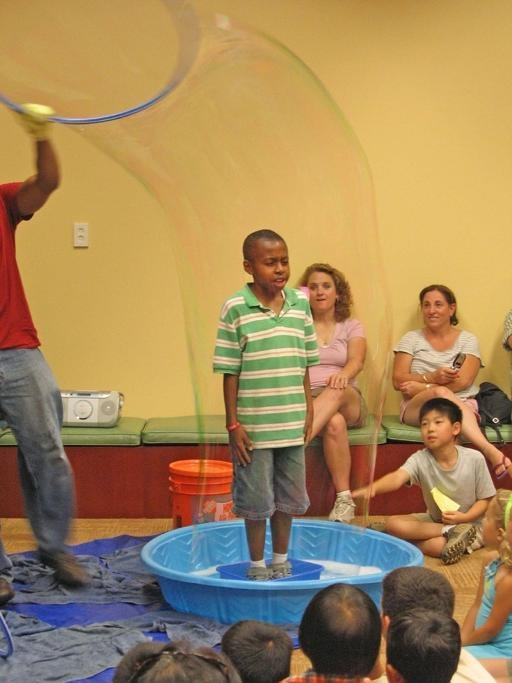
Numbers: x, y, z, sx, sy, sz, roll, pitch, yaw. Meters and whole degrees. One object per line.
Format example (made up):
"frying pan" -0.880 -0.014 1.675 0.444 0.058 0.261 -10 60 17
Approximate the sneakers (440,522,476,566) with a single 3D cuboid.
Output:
"sneakers" 0.603 0.597 2.018 0.075 0.060 0.165 0 33 42

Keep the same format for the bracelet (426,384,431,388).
"bracelet" 0.680 0.172 2.608 0.014 0.011 0.019 3 -6 8

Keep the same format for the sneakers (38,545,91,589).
"sneakers" -0.487 0.548 1.622 0.080 0.064 0.175 -1 1 -44

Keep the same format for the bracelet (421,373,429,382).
"bracelet" 0.674 0.146 2.638 0.027 0.022 0.022 -3 12 -24

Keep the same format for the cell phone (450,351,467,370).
"cell phone" 0.827 0.076 2.683 0.042 0.028 0.112 13 59 33

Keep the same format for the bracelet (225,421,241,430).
"bracelet" -0.049 0.187 1.479 0.021 0.007 0.020 -27 -9 29
